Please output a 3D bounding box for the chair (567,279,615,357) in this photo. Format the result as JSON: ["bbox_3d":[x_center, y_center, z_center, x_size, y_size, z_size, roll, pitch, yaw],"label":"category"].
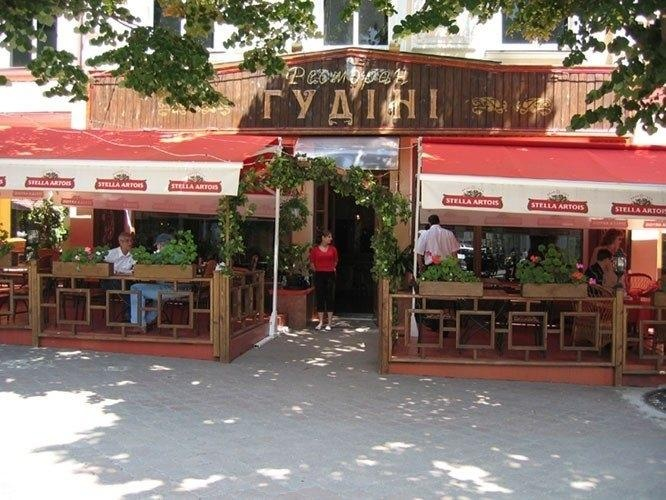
[{"bbox_3d":[4.177,1.154,11.577,0.623,1.278,1.396,6,13,20],"label":"chair"}]

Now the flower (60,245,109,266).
[{"bbox_3d":[-4.262,0.052,12.444,0.828,0.251,0.539,4,12,11],"label":"flower"}]

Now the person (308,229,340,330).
[{"bbox_3d":[-0.221,0.651,14.981,0.535,2.113,0.766,2,12,4],"label":"person"}]

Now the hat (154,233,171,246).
[{"bbox_3d":[-3.250,-0.214,13.696,0.408,0.231,0.299,1,5,7],"label":"hat"}]

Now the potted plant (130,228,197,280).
[{"bbox_3d":[-2.821,0.195,12.318,1.123,0.764,0.826,0,-5,-4],"label":"potted plant"}]

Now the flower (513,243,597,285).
[{"bbox_3d":[3.508,0.274,11.482,1.017,0.618,1.143,-4,10,-34],"label":"flower"}]
